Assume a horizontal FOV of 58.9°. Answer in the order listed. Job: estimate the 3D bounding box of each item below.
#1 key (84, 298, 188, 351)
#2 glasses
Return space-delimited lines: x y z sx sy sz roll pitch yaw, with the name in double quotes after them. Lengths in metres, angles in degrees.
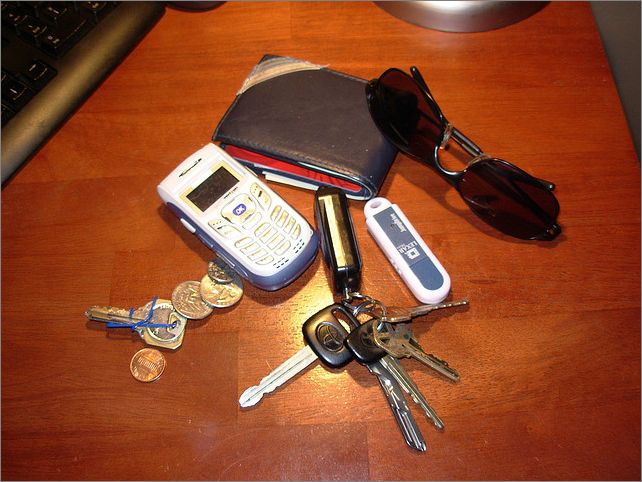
-0.291 0.131 0.916 0.151 0.032 0.071 7 57 2 "key"
0.241 -0.140 0.994 0.388 0.075 0.102 43 94 10 "glasses"
